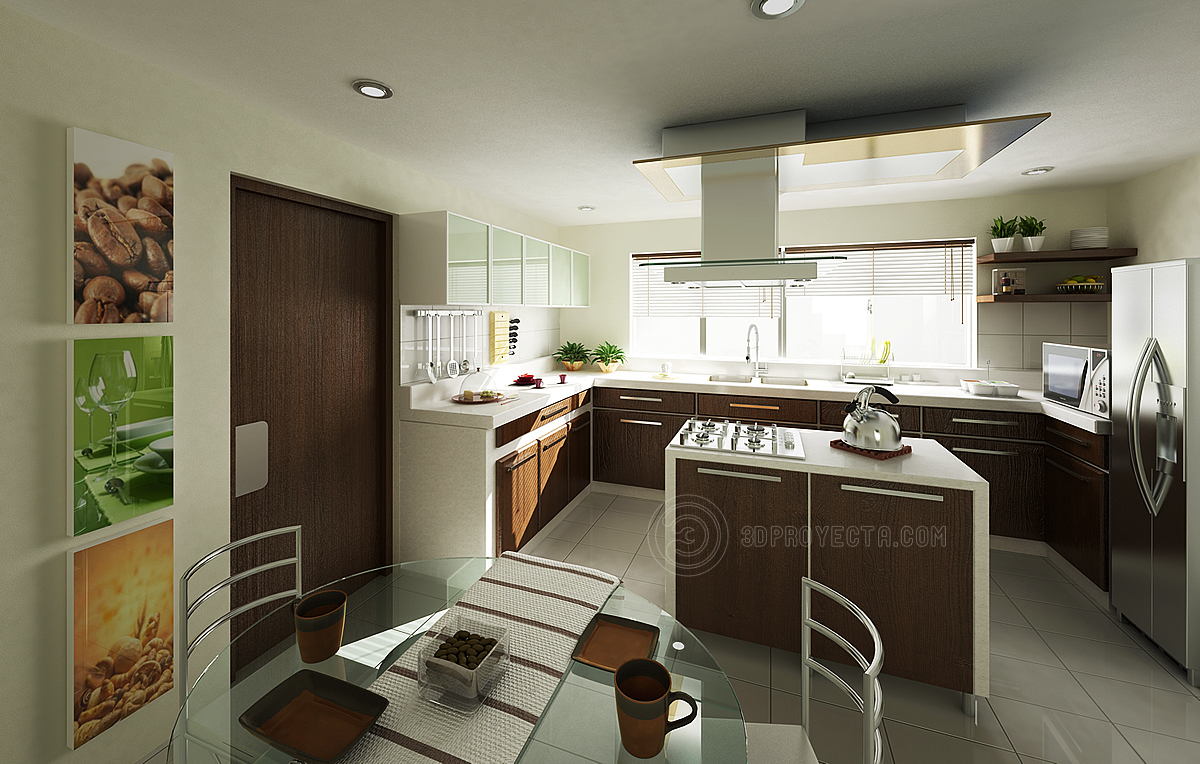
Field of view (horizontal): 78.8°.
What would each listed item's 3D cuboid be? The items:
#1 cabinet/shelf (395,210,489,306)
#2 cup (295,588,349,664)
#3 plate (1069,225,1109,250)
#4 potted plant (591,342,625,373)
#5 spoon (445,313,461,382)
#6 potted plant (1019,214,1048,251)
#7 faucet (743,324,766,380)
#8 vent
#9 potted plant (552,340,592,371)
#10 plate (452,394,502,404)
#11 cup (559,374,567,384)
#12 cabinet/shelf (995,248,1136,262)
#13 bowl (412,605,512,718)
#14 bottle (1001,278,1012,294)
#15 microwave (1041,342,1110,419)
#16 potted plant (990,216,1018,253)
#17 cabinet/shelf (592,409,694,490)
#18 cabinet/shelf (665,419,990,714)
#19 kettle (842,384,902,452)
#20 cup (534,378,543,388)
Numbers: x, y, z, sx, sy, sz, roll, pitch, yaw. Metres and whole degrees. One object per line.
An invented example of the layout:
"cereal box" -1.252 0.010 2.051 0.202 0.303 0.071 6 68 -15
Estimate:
"cabinet/shelf" -1.112 -0.708 5.134 0.369 0.571 0.648 2 23 11
"cup" -1.225 1.101 3.298 0.246 0.224 0.274 0 2 -1
"plate" 3.679 -1.084 5.490 0.212 0.132 0.214 1 6 29
"potted plant" 0.076 -0.230 6.923 0.288 0.210 0.286 2 7 17
"spoon" -1.087 -0.262 5.372 0.049 0.453 0.137 1 8 17
"potted plant" 3.337 -1.152 5.660 0.181 0.271 0.268 3 9 30
"faucet" 1.368 -0.277 6.519 0.164 0.494 0.344 0 8 10
"vent" 0.899 -1.136 4.645 1.191 0.886 1.134 -13 16 -34
"potted plant" -0.247 -0.260 7.020 0.292 0.195 0.293 2 6 20
"plate" -0.882 0.106 5.261 0.362 0.070 0.245 -3 8 -10
"cup" -0.325 -0.028 6.311 0.063 0.060 0.061 0 5 0
"cabinet/shelf" 3.474 -0.970 5.599 1.020 0.113 0.302 1 8 17
"bowl" -0.571 1.206 3.167 0.315 0.200 0.318 1 6 0
"bottle" 3.182 -0.759 5.726 0.075 0.119 0.042 2 9 24
"microwave" 3.294 -0.033 4.879 0.377 0.435 0.608 -6 10 -6
"potted plant" 3.162 -1.162 5.721 0.200 0.304 0.307 3 9 27
"cabinet/shelf" 0.279 0.682 6.476 0.915 0.649 0.488 6 -29 -16
"cabinet/shelf" 1.429 0.628 4.455 2.230 1.540 1.281 3 7 25
"kettle" 1.576 0.203 4.235 0.432 0.394 0.277 7 -3 -33
"cup" -0.498 0.014 5.977 0.071 0.048 0.069 1 2 0
